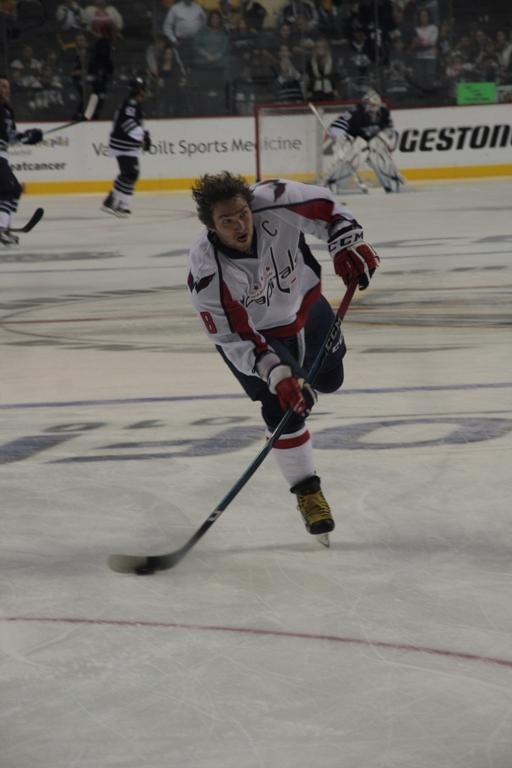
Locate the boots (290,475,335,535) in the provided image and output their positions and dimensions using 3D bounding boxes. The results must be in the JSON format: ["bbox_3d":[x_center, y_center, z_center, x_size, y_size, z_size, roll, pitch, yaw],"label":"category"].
[{"bbox_3d":[0.128,0.301,2.149,0.063,0.075,0.176,-28,24,5],"label":"boots"}]

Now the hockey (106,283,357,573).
[{"bbox_3d":[-0.072,0.152,2.608,1.303,0.283,0.099,-47,2,-24],"label":"hockey"}]

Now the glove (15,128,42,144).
[{"bbox_3d":[-2.275,-2.503,8.676,0.168,0.106,0.358,-14,4,28],"label":"glove"}]

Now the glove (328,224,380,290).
[{"bbox_3d":[0.290,-0.363,2.362,0.151,0.182,0.080,24,63,26],"label":"glove"}]

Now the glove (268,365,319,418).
[{"bbox_3d":[0.078,0.009,2.063,0.066,0.135,0.107,-48,16,1],"label":"glove"}]
